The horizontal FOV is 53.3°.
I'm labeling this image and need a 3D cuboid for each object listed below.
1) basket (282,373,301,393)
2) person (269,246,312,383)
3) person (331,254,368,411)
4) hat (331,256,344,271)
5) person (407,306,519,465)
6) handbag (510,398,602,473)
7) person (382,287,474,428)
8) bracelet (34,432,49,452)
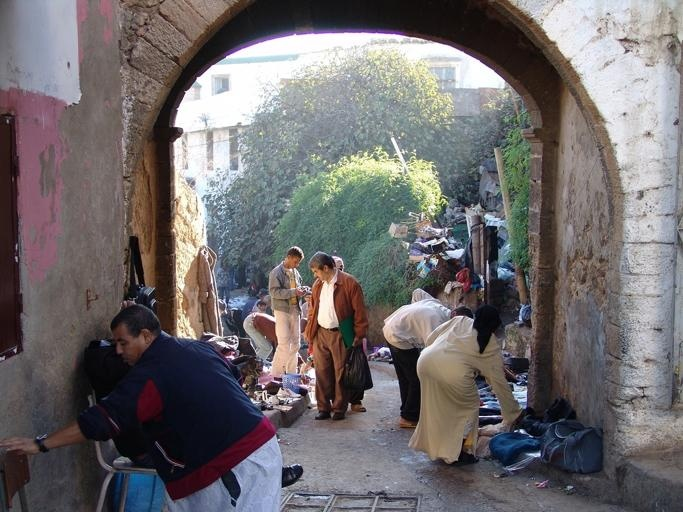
[{"bbox_3d":[-0.620,1.590,8.600,0.213,0.254,0.221,0,-1,9],"label":"basket"},{"bbox_3d":[-0.686,0.832,9.709,0.586,1.943,0.660,5,10,22],"label":"person"},{"bbox_3d":[0.154,1.035,8.567,0.372,1.966,1.201,-4,6,1],"label":"person"},{"bbox_3d":[-0.027,0.101,9.297,0.149,0.223,0.208,3,-5,-16],"label":"hat"},{"bbox_3d":[1.147,1.226,6.678,0.797,1.545,0.976,5,0,-28],"label":"person"},{"bbox_3d":[1.864,1.555,5.739,0.314,0.201,0.470,-19,7,-25],"label":"handbag"},{"bbox_3d":[1.114,1.111,8.064,1.209,1.938,1.030,-1,8,-13],"label":"person"},{"bbox_3d":[-1.545,0.977,3.522,0.065,0.100,0.115,-7,6,-25],"label":"bracelet"}]
